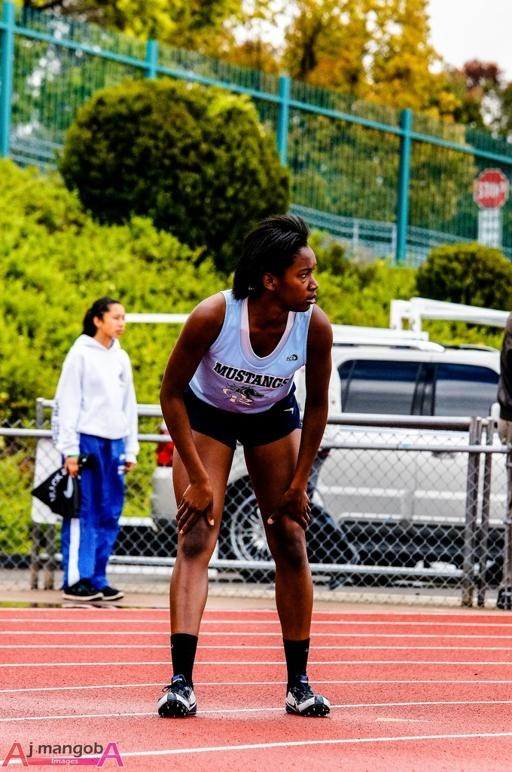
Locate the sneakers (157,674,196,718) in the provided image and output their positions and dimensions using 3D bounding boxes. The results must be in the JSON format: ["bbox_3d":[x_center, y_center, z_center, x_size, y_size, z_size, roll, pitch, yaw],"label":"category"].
[{"bbox_3d":[-0.287,1.109,4.914,0.078,0.118,0.221,1,-11,6],"label":"sneakers"}]

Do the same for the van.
[{"bbox_3d":[0.557,0.509,9.528,2.257,1.343,1.307,-1,-3,4],"label":"van"}]

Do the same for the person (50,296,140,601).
[{"bbox_3d":[-0.952,0.377,8.166,0.295,1.795,0.599,1,0,32],"label":"person"}]

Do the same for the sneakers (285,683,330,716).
[{"bbox_3d":[0.183,1.144,5.056,0.078,0.111,0.204,6,-14,-33],"label":"sneakers"}]

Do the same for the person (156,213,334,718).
[{"bbox_3d":[-0.037,0.302,4.981,0.610,1.254,0.357,1,0,-3],"label":"person"}]

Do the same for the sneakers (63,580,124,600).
[{"bbox_3d":[-0.960,1.211,8.112,0.220,0.088,0.163,2,-4,-10],"label":"sneakers"}]

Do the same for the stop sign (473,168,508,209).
[{"bbox_3d":[2.700,-2.286,15.999,0.438,0.559,0.093,3,-10,-25],"label":"stop sign"}]
